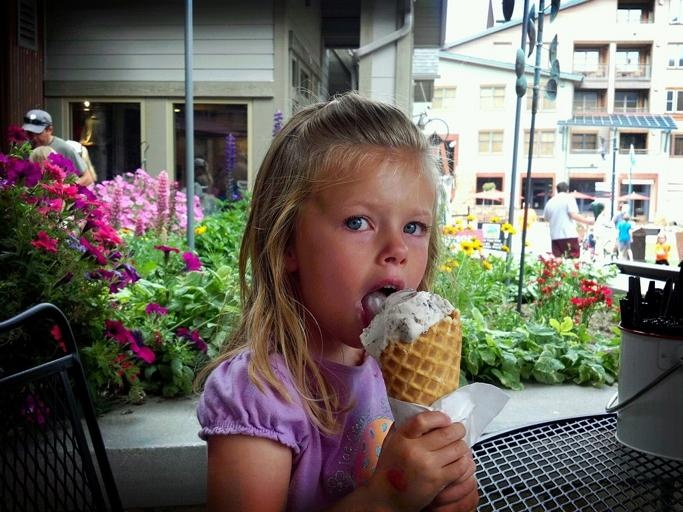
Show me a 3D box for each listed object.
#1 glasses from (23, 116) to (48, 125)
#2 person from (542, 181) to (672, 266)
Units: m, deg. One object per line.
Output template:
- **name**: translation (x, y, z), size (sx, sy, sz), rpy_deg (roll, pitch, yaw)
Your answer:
- **glasses**: translation (-2.754, -1.242, 5.099), size (0.192, 0.066, 0.132), rpy_deg (-3, 8, -22)
- **person**: translation (3.713, -0.469, 8.332), size (1.077, 1.493, 1.486), rpy_deg (2, 1, 14)
